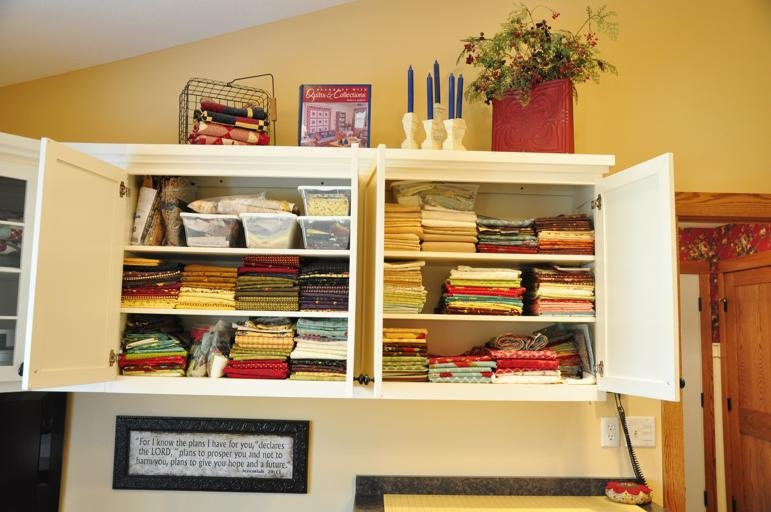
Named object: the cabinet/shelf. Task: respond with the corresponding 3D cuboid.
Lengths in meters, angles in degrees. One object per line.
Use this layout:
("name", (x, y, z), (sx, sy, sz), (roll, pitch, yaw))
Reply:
("cabinet/shelf", (-0.263, 0.107, 3.765), (3.491, 1.481, 0.790), (0, -3, -1))

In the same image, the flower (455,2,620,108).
("flower", (0.894, -1.210, 4.068), (0.843, 0.724, 0.506), (0, -3, 5))

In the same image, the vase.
("vase", (0.837, -0.792, 3.857), (0.470, 0.411, 0.153), (0, -4, 21))
